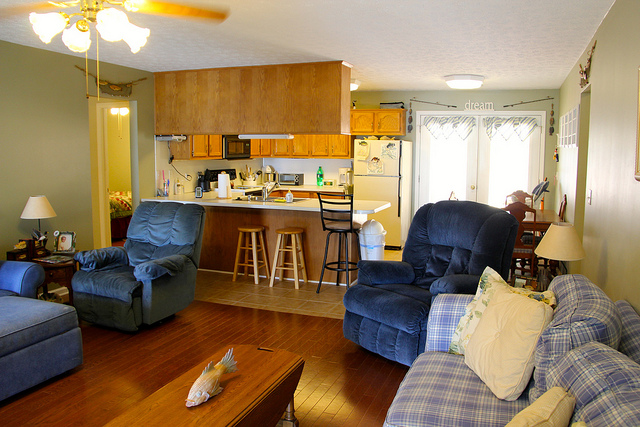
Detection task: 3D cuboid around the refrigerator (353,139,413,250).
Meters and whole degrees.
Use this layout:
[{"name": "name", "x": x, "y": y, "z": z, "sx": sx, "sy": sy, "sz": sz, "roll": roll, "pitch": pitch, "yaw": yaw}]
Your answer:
[{"name": "refrigerator", "x": 1.304, "y": -0.428, "z": 8.576, "sx": 1.104, "sy": 2.272, "sz": 0.946, "roll": 3, "pitch": 8, "yaw": 17}]

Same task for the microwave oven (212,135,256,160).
[{"name": "microwave oven", "x": -1.698, "y": -1.099, "z": 7.976, "sx": 0.419, "sy": 0.428, "sz": 0.687, "roll": 1, "pitch": 3, "yaw": 23}]

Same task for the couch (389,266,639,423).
[{"name": "couch", "x": 1.251, "y": 0.883, "z": 2.712, "sx": 1.062, "sy": 0.813, "sz": 1.378, "roll": -1, "pitch": 2, "yaw": 27}]

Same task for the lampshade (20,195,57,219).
[{"name": "lampshade", "x": -3.330, "y": -0.064, "z": 4.963, "sx": 0.329, "sy": 0.250, "sz": 0.220, "roll": -10, "pitch": 17, "yaw": -34}]

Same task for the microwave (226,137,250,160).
[{"name": "microwave", "x": -1.541, "y": -1.239, "z": 8.028, "sx": 0.135, "sy": 0.422, "sz": 0.846, "roll": 4, "pitch": 14, "yaw": 14}]

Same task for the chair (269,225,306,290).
[{"name": "chair", "x": -0.463, "y": 0.623, "z": 6.112, "sx": 0.515, "sy": 0.848, "sz": 0.579, "roll": 0, "pitch": 15, "yaw": 1}]

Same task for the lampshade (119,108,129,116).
[{"name": "lampshade", "x": -3.394, "y": -1.766, "z": 7.307, "sx": 0.117, "sy": 0.092, "sz": 0.629, "roll": -7, "pitch": 15, "yaw": -27}]

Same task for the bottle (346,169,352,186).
[{"name": "bottle", "x": 0.630, "y": -0.769, "z": 8.910, "sx": 0.116, "sy": 0.294, "sz": 0.139, "roll": -1, "pitch": 15, "yaw": -4}]

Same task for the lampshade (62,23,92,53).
[{"name": "lampshade", "x": -1.802, "y": -1.307, "z": 3.125, "sx": 0.167, "sy": 0.185, "sz": 0.222, "roll": -6, "pitch": 15, "yaw": -24}]

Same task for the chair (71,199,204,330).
[{"name": "chair", "x": -2.114, "y": 0.565, "z": 5.004, "sx": 1.458, "sy": 1.245, "sz": 1.458, "roll": -1, "pitch": 11, "yaw": -14}]

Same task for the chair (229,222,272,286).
[{"name": "chair", "x": -1.017, "y": 0.585, "z": 6.303, "sx": 0.525, "sy": 0.703, "sz": 0.520, "roll": 3, "pitch": 4, "yaw": 43}]

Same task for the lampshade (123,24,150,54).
[{"name": "lampshade", "x": -1.348, "y": -1.252, "z": 3.093, "sx": 0.211, "sy": 0.206, "sz": 0.057, "roll": 11, "pitch": 17, "yaw": 2}]

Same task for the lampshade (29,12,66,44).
[{"name": "lampshade", "x": -1.907, "y": -1.303, "z": 3.031, "sx": 0.224, "sy": 0.217, "sz": 0.232, "roll": 28, "pitch": 19, "yaw": 26}]

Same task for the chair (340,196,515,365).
[{"name": "chair", "x": 1.073, "y": 0.652, "z": 4.269, "sx": 1.545, "sy": 1.325, "sz": 1.183, "roll": -9, "pitch": 10, "yaw": -29}]
